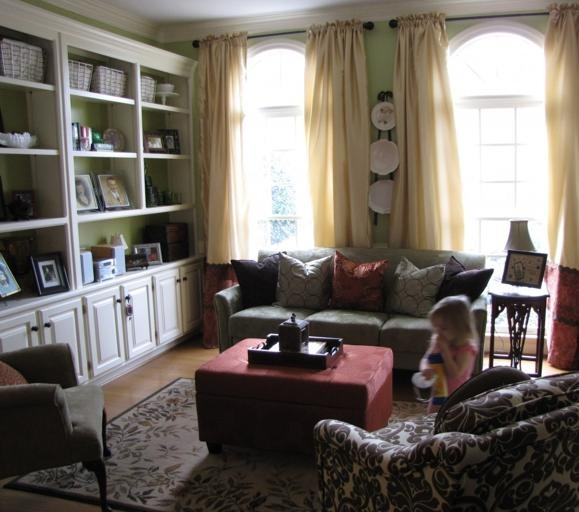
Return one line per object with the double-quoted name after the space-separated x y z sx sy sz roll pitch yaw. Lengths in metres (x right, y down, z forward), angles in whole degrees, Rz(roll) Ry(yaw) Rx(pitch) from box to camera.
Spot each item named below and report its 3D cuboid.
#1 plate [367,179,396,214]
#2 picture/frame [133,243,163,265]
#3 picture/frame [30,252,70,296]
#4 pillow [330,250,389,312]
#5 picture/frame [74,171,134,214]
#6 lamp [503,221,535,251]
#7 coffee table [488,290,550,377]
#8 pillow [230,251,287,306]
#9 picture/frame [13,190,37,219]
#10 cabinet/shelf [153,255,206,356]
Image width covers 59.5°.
0.814 -0.537 4.545 0.216 0.295 0.065 3 10 24 "plate"
-1.304 -0.017 4.640 0.184 0.173 0.018 -2 -11 -42 "picture/frame"
-1.725 0.133 3.625 0.020 0.310 0.253 -13 2 31 "picture/frame"
0.573 0.224 4.177 0.399 0.455 0.172 3 -10 16 "pillow"
-1.541 -0.515 4.145 0.040 0.245 0.401 -15 -3 27 "picture/frame"
1.703 -0.145 3.775 0.207 0.241 0.201 -1 7 30 "lamp"
1.763 0.613 3.949 0.409 0.767 0.834 3 11 26 "coffee table"
-0.258 0.205 4.385 0.362 0.456 0.167 -4 -19 -12 "pillow"
-1.859 -0.365 3.557 0.136 0.193 0.311 -6 11 -26 "picture/frame"
-1.067 0.467 4.816 0.257 0.684 0.704 1 19 20 "cabinet/shelf"
